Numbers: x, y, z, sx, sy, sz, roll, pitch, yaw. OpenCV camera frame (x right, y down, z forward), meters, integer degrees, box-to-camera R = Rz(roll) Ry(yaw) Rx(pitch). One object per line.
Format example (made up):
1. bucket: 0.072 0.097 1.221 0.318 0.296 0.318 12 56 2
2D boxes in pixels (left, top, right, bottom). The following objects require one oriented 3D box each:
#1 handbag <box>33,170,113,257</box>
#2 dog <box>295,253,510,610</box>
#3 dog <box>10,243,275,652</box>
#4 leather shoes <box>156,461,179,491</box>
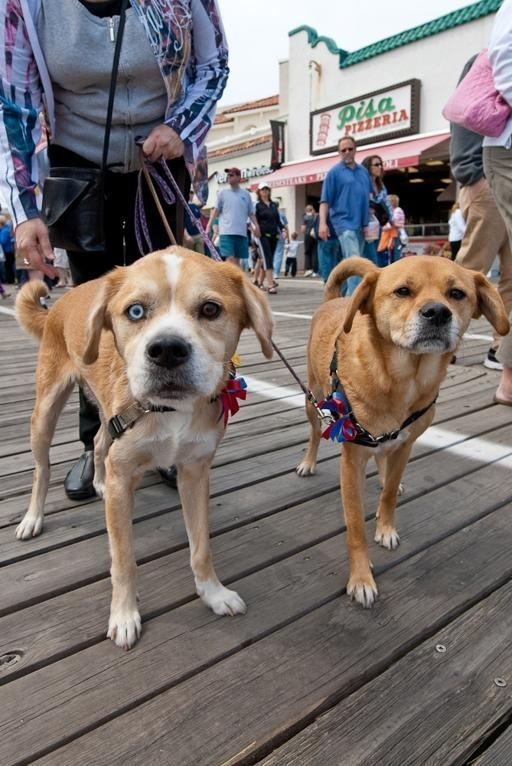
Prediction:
1. handbag: -0.616 -0.573 1.946 0.135 0.237 0.281 -10 30 -42
2. dog: 0.470 0.066 1.969 0.540 0.988 1.030 -3 21 -6
3. dog: -0.414 0.098 1.752 0.598 0.995 1.014 -20 29 -39
4. leather shoes: -0.348 0.381 2.423 0.068 0.123 0.189 -3 6 -26
